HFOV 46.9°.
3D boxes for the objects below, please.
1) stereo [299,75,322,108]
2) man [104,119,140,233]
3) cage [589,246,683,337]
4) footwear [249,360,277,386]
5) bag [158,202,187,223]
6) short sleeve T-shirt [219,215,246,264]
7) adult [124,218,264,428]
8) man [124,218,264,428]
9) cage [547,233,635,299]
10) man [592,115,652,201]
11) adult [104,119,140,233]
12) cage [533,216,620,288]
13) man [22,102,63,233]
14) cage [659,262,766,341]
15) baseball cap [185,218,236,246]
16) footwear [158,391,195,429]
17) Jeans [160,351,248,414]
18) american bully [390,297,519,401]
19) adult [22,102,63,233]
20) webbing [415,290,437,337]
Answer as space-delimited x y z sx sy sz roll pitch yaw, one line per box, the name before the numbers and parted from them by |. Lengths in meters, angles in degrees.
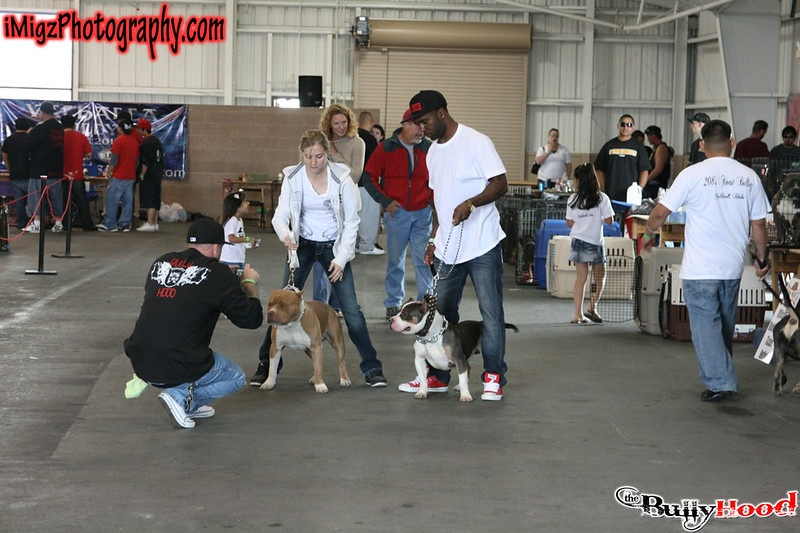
stereo | -2.245 -4.347 23.230 0.773 1.086 0.580 0 2 -3
man | -5.880 -1.909 19.618 0.838 2.439 0.622 -9 15 -38
cage | 2.923 0.259 11.142 0.877 1.080 1.334 7 1 14
footwear | -1.287 1.017 8.666 0.113 0.146 0.338 0 -1 10
bag | -5.677 -1.316 23.154 0.469 0.278 0.566 10 2 1
short sleeve T-shirt | -2.015 -0.298 11.115 0.404 0.711 0.605 -1 4 -7
adult | -1.747 0.442 7.799 1.069 1.628 1.028 9 7 31
man | -1.696 0.444 7.835 1.086 1.636 1.031 7 7 18
cage | 2.594 0.062 12.530 1.117 0.758 0.823 0 1 -8
man | 3.600 -1.409 15.035 0.876 2.047 0.629 1 -6 30
adult | -5.876 -1.910 19.621 0.848 2.439 0.622 -9 15 -38
cage | 2.767 -0.100 13.894 1.367 1.244 0.786 5 3 21
man | -6.943 -1.843 18.075 0.783 2.595 1.252 -5 13 -22
cage | 3.598 0.450 10.783 1.141 0.974 1.496 1 -1 36
baseball cap | -1.556 -0.278 7.629 0.197 0.153 0.310 10 11 41
footwear | -1.808 1.192 7.595 0.168 0.424 0.152 -33 -3 -27
Jeans | -1.604 0.920 7.618 0.574 0.226 0.467 -25 44 -38
american bully | 0.392 0.698 8.266 1.006 0.969 0.581 -3 12 -16
adult | -6.942 -1.843 18.075 0.779 2.595 1.248 -5 13 -23
webbing | 0.255 0.426 7.969 0.166 0.320 0.239 3 -5 -22
